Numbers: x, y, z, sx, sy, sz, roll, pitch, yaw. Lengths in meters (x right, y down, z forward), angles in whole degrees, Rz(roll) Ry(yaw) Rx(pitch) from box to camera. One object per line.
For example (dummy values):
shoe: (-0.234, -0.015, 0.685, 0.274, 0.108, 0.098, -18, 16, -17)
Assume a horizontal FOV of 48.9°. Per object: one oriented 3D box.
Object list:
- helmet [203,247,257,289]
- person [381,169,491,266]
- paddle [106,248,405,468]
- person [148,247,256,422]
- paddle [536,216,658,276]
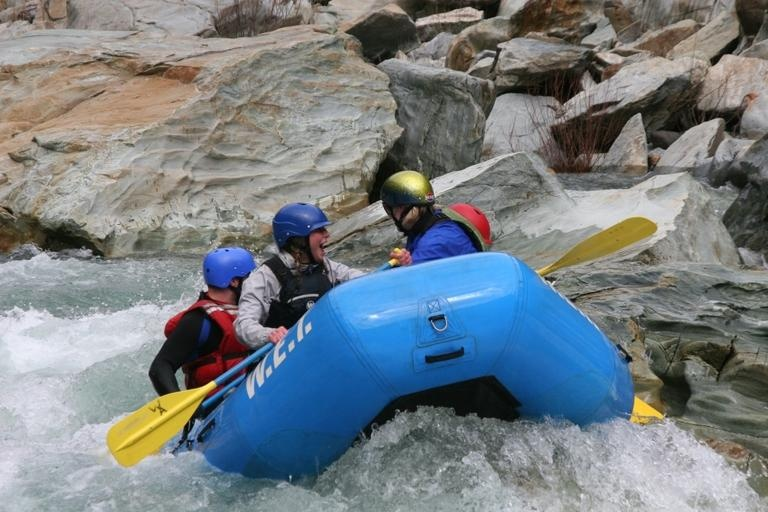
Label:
helmet: (-1.758, 0.097, 9.565, 0.605, 0.409, 0.460, -7, 16, -31)
person: (0.560, -0.368, 9.979, 1.380, 1.389, 0.900, -6, 18, -10)
paddle: (-1.325, 1.161, 8.829, 3.327, 0.277, 0.452, -38, 66, -3)
person: (-2.023, 0.949, 9.421, 0.851, 2.036, 1.038, -26, 26, 2)
paddle: (2.794, -0.107, 10.919, 1.700, 0.349, 0.123, -25, 6, 0)
